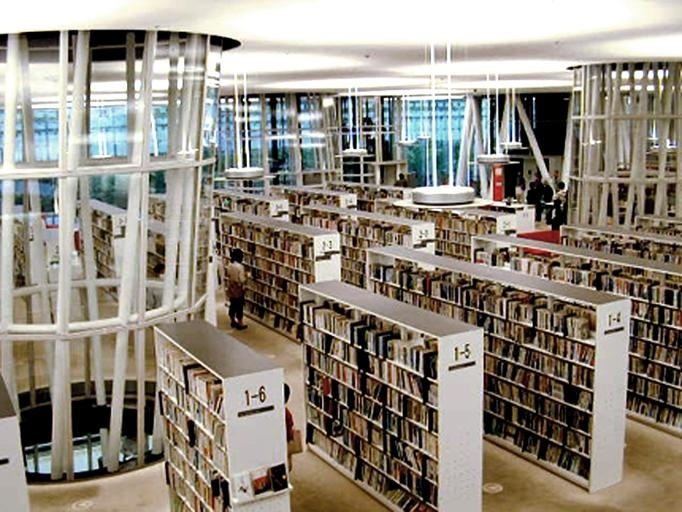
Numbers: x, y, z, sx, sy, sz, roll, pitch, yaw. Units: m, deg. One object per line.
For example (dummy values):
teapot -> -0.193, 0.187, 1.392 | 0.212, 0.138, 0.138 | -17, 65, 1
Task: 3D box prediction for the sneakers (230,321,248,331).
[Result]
sneakers -> -2.256, 1.543, 13.656 | 0.292, 0.128, 0.170 | 8, 12, 32
